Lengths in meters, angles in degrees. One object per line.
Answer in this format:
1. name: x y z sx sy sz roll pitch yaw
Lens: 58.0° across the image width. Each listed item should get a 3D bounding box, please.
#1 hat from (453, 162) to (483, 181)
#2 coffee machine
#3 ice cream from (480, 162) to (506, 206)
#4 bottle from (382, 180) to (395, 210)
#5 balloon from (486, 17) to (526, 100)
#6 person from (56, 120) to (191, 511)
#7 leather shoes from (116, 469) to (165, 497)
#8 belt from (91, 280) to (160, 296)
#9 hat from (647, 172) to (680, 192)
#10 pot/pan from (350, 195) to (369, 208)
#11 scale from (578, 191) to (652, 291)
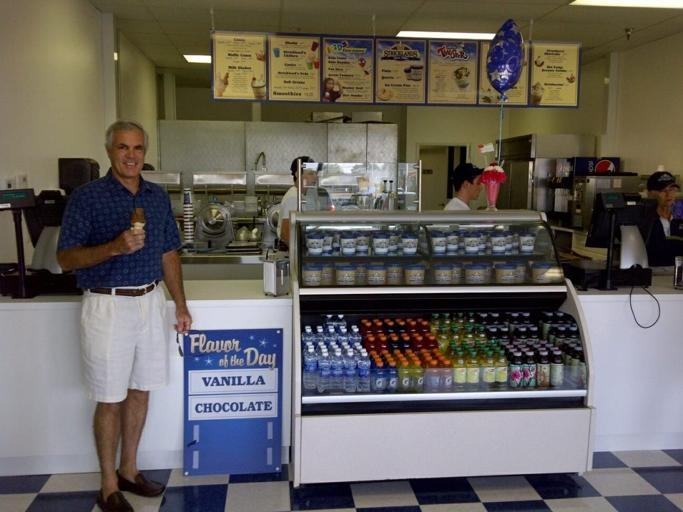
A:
1. hat: 1.040 -0.698 5.135 0.220 0.108 0.134 -13 18 9
2. coffee machine: 2.712 -0.806 7.093 0.467 0.856 0.982 0 3 -35
3. ice cream: 1.097 -0.518 4.561 0.225 0.352 0.215 2 1 37
4. bottle: 0.349 -0.462 4.599 0.102 0.212 0.054 -3 9 -21
5. balloon: 1.288 -1.572 4.907 0.266 0.644 0.323 2 9 12
6. person: -1.281 0.353 3.778 0.530 2.322 0.630 3 9 19
7. leather shoes: -1.249 1.440 3.907 0.296 0.112 0.123 7 1 -5
8. belt: -1.284 0.200 3.664 0.395 0.072 0.110 -4 10 -25
9. hat: 2.726 -0.628 5.307 0.181 0.129 0.242 -13 8 -8
10. pot/pan: 0.140 -0.413 4.558 0.112 0.100 0.103 2 12 5
11. scale: 2.124 -0.125 4.745 0.590 0.703 0.390 1 3 -19
